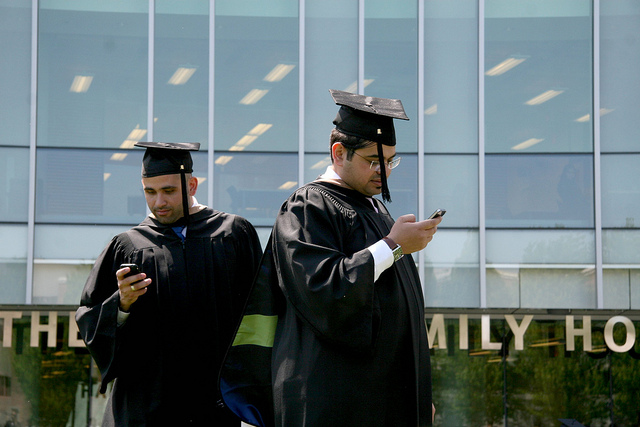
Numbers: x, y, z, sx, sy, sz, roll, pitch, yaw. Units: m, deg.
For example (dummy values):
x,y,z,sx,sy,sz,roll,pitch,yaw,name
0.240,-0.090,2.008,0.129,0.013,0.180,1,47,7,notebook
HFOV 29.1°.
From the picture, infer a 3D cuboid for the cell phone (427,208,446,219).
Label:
x,y,z,sx,sy,sz,roll,pitch,yaw,name
1.595,0.011,16.686,0.174,0.045,0.180,-32,-7,28,cell phone
